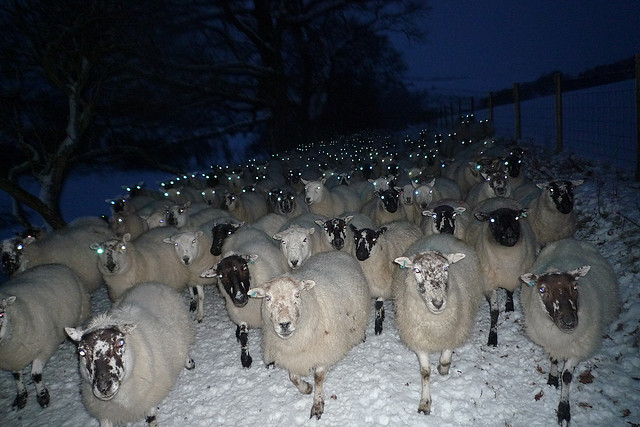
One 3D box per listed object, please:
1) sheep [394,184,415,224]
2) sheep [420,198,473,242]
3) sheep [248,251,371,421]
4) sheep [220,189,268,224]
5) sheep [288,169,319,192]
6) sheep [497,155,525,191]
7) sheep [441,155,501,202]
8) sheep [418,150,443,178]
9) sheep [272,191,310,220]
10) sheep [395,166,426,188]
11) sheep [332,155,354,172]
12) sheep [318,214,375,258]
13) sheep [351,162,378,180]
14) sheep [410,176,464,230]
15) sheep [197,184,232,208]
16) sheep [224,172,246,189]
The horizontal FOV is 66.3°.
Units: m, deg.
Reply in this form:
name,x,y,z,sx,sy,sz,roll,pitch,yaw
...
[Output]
name,x,y,z,sx,sy,sz,roll,pitch,yaw
sheep,2.734,-0.446,15.140,0.616,1.174,1.389,-6,1,25
sheep,3.404,0.110,13.248,0.779,0.981,1.605,-1,-7,26
sheep,-0.042,2.622,11.223,2.437,3.120,1.397,-23,22,-40
sheep,-2.462,-0.524,17.543,1.839,0.692,0.997,-9,-37,39
sheep,-0.696,-1.580,20.216,0.624,0.820,1.504,-22,11,24
sheep,6.227,-1.358,15.634,0.702,1.144,1.481,-18,5,28
sheep,5.154,-0.929,17.746,0.890,1.434,2.325,17,-17,-27
sheep,4.868,-2.132,21.409,0.830,1.373,1.787,-7,18,19
sheep,-0.968,-0.274,16.096,0.598,0.866,1.596,-5,-2,9
sheep,3.179,-1.320,17.261,0.872,0.748,1.684,-3,5,-1
sheep,1.182,-2.564,24.476,0.935,0.704,1.816,27,11,-8
sheep,0.642,0.514,12.862,0.698,0.959,1.830,-11,10,15
sheep,1.833,-1.748,20.330,0.996,0.553,1.122,-8,17,5
sheep,3.406,-0.699,15.302,0.883,1.448,2.668,-11,15,34
sheep,-3.873,-0.659,18.025,0.640,0.983,1.935,-27,5,10
sheep,-3.547,-1.381,20.368,0.569,0.821,1.495,-6,9,-10
